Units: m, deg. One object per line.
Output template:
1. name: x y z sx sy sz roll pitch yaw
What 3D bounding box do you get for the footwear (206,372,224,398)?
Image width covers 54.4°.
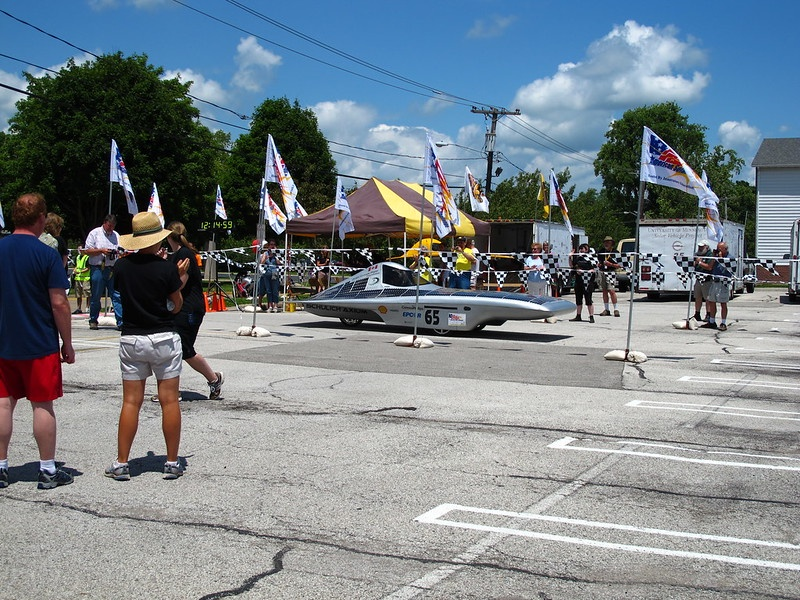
1. footwear: -2.172 1.002 9.070 0.122 0.357 0.175 3 1 28

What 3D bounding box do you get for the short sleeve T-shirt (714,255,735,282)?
1. short sleeve T-shirt: 6.942 -0.690 16.701 0.586 0.660 0.051 1 -8 2

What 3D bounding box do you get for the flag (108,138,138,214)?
1. flag: -6.468 -2.904 18.098 0.533 0.312 2.356 3 -37 -12

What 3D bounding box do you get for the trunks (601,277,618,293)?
1. trunks: 5.312 -0.411 20.082 0.296 0.443 0.508 -2 6 -27

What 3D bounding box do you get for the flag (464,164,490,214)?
1. flag: 2.448 -3.704 26.580 1.073 0.289 2.525 9 -30 18

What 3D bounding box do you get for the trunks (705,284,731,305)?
1. trunks: 6.887 -0.197 16.963 0.559 0.660 0.374 2 3 21

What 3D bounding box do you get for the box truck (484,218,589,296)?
1. box truck: 5.157 -1.724 30.366 2.729 2.933 5.382 3 8 30

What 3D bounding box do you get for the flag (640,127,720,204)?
1. flag: 4.586 -2.052 12.272 1.570 1.024 0.327 21 34 40

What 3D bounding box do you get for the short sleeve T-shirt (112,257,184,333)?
1. short sleeve T-shirt: -2.098 -0.061 6.421 0.519 0.659 0.244 -1 5 -8

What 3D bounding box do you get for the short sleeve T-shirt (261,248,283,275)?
1. short sleeve T-shirt: -3.461 -0.986 20.614 0.675 0.967 0.562 0 -8 -13

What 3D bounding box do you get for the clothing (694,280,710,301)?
1. clothing: 6.660 -0.224 17.256 0.306 0.567 0.568 7 9 31

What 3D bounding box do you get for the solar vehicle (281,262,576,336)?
1. solar vehicle: 0.472 0.052 15.895 5.860 1.512 1.848 1 7 26

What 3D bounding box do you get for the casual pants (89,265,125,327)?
1. casual pants: -6.149 -0.146 15.775 0.294 1.326 0.556 13 -2 -22

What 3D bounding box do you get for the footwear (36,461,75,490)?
1. footwear: -2.744 1.392 6.240 0.123 0.169 0.326 6 4 34

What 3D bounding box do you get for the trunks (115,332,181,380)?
1. trunks: -2.070 0.459 6.376 0.489 0.390 0.384 0 10 0

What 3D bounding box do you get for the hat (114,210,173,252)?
1. hat: -2.163 -0.552 6.564 0.317 0.161 0.372 12 27 30

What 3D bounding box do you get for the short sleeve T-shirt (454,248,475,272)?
1. short sleeve T-shirt: 1.542 -0.976 18.703 0.510 0.527 0.487 3 10 6

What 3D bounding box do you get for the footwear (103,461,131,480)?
1. footwear: -2.285 1.374 6.310 0.101 0.114 0.233 -1 7 -37

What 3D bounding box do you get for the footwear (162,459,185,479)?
1. footwear: -1.882 1.385 6.404 0.087 0.097 0.210 0 2 3
